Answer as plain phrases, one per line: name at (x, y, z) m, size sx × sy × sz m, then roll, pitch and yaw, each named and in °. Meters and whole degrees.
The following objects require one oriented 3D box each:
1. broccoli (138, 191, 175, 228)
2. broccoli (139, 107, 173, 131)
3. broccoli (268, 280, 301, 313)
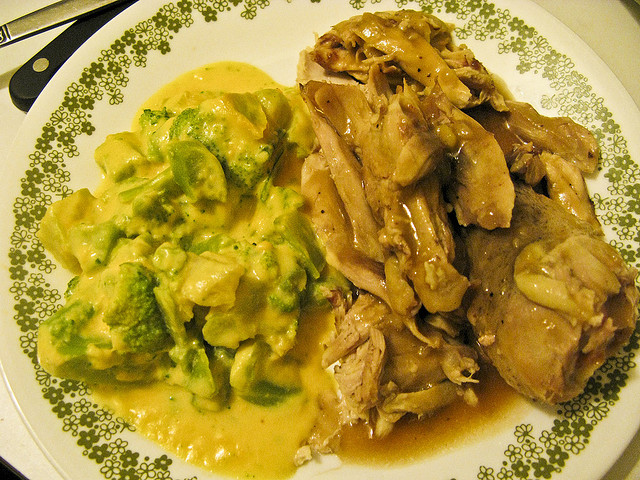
broccoli at (-1.292, -0.257, 5.406) m, size 0.065 × 0.229 × 0.291 m, roll 15°, pitch 57°, yaw 39°
broccoli at (-1.432, -1.057, 5.859) m, size 0.238 × 0.074 × 0.179 m, roll -18°, pitch 89°, yaw -14°
broccoli at (-0.289, 0.440, 5.454) m, size 0.239 × 0.075 × 0.238 m, roll -44°, pitch 95°, yaw -1°
